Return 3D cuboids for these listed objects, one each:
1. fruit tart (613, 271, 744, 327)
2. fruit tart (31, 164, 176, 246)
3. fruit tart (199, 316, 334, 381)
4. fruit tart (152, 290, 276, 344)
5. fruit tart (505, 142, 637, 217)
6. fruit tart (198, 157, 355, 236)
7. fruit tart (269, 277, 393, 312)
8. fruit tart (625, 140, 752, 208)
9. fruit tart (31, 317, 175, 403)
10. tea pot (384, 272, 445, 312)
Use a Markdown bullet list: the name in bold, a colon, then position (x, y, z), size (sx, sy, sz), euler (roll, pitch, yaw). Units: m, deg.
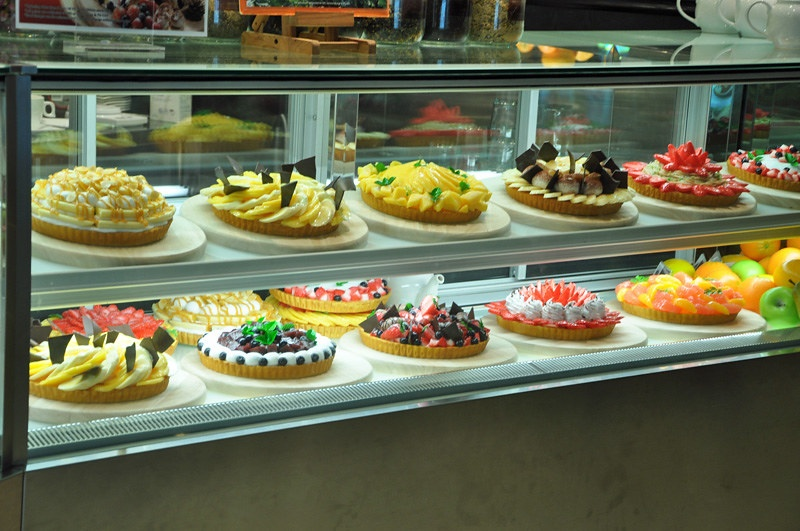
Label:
- **fruit tart**: position (0.967, 0.116, 2.104), size (0.263, 0.079, 0.255), euler (12, 15, 42)
- **fruit tart**: position (-0.620, -0.119, 1.237), size (0.268, 0.143, 0.143), euler (-8, 20, -20)
- **fruit tart**: position (-0.381, 0.225, 1.698), size (0.364, 0.111, 0.354), euler (1, 8, -40)
- **fruit tart**: position (-0.562, 0.137, 1.792), size (0.288, 0.086, 0.207), euler (-1, 12, -20)
- **fruit tart**: position (0.491, -0.250, 1.729), size (0.349, 0.128, 0.403), euler (27, 28, 37)
- **fruit tart**: position (-0.313, -0.164, 1.393), size (0.260, 0.089, 0.238), euler (-1, 24, -39)
- **fruit tart**: position (-0.227, 0.100, 2.042), size (0.333, 0.096, 0.327), euler (1, 5, -33)
- **fruit tart**: position (0.876, -0.264, 1.825), size (0.309, 0.124, 0.288), euler (5, 24, -2)
- **fruit tart**: position (-0.764, 0.247, 1.454), size (0.243, 0.117, 0.257), euler (2, 6, -27)
- **tea pot**: position (0.051, 0.095, 2.023), size (0.166, 0.108, 0.115), euler (1, 3, 6)
